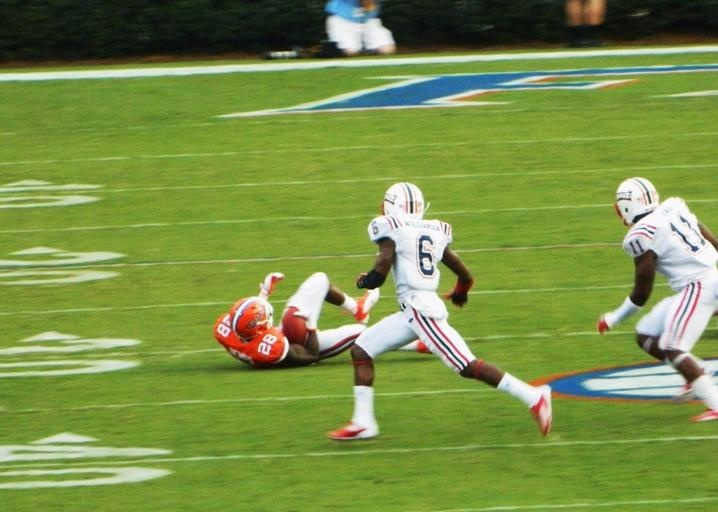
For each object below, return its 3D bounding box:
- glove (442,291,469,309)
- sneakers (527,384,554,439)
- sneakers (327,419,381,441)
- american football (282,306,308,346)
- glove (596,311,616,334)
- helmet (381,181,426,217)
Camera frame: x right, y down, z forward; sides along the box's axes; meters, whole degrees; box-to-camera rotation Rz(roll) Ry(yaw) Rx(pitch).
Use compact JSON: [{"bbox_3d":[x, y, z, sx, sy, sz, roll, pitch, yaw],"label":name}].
[{"bbox_3d":[0.899,0.395,15.118,0.209,0.064,0.185,18,-20,-20],"label":"glove"},{"bbox_3d":[1.618,1.372,14.351,0.263,0.425,0.174,-14,4,-11],"label":"sneakers"},{"bbox_3d":[-0.051,1.570,14.510,0.469,0.134,0.159,3,-7,-9],"label":"sneakers"},{"bbox_3d":[-0.640,0.683,15.861,0.129,0.273,0.354,-49,47,2],"label":"american football"},{"bbox_3d":[2.294,0.604,14.905,0.230,0.099,0.163,-33,19,35],"label":"glove"},{"bbox_3d":[0.448,-0.536,14.906,0.366,0.296,0.364,2,10,-11],"label":"helmet"}]
